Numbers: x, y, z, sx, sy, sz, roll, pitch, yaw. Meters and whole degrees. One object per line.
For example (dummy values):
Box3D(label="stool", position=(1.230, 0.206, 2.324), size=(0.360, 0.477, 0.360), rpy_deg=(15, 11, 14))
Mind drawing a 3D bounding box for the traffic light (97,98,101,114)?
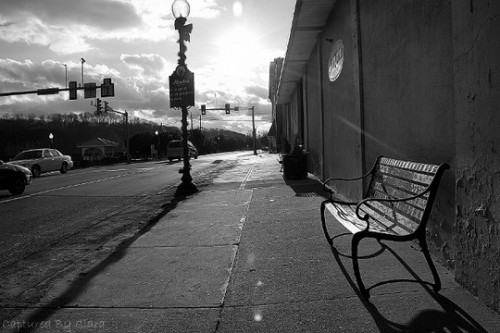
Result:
Box3D(label="traffic light", position=(-14.804, -5.780, 36.879), size=(0.439, 1.309, 1.026), rpy_deg=(-6, 10, -23))

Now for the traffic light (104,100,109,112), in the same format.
Box3D(label="traffic light", position=(-14.160, -5.764, 37.242), size=(0.282, 1.008, 1.856), rpy_deg=(-5, 11, -17))

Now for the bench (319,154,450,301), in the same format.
Box3D(label="bench", position=(1.917, 0.757, 5.894), size=(1.209, 1.685, 2.717), rpy_deg=(-1, 3, 1))

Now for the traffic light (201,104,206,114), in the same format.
Box3D(label="traffic light", position=(-5.927, -6.985, 47.513), size=(0.485, 1.033, 1.284), rpy_deg=(-5, 10, -13))

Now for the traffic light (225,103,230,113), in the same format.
Box3D(label="traffic light", position=(-3.083, -7.460, 50.003), size=(0.482, 1.266, 0.463), rpy_deg=(-4, 9, -10))
